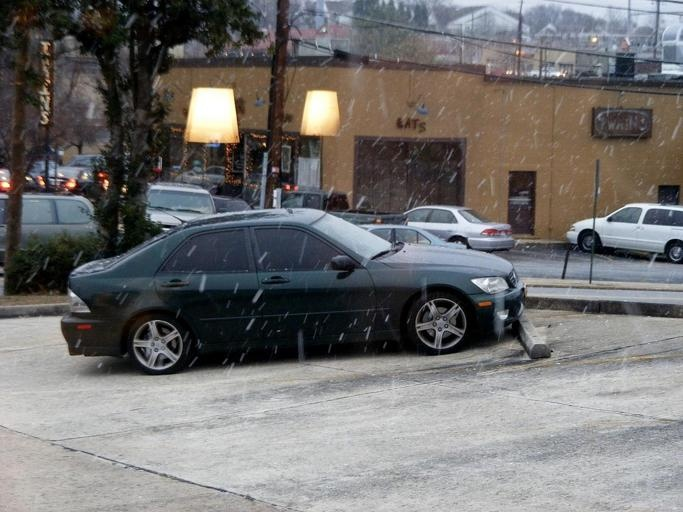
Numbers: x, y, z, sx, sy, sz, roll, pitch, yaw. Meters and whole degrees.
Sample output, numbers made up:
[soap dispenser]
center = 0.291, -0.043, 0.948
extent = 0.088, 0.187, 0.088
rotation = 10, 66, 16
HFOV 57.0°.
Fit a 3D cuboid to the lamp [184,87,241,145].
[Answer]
[lamp]
center = -2.668, -3.236, 14.301
extent = 1.299, 1.245, 1.464
rotation = 1, 15, 8
